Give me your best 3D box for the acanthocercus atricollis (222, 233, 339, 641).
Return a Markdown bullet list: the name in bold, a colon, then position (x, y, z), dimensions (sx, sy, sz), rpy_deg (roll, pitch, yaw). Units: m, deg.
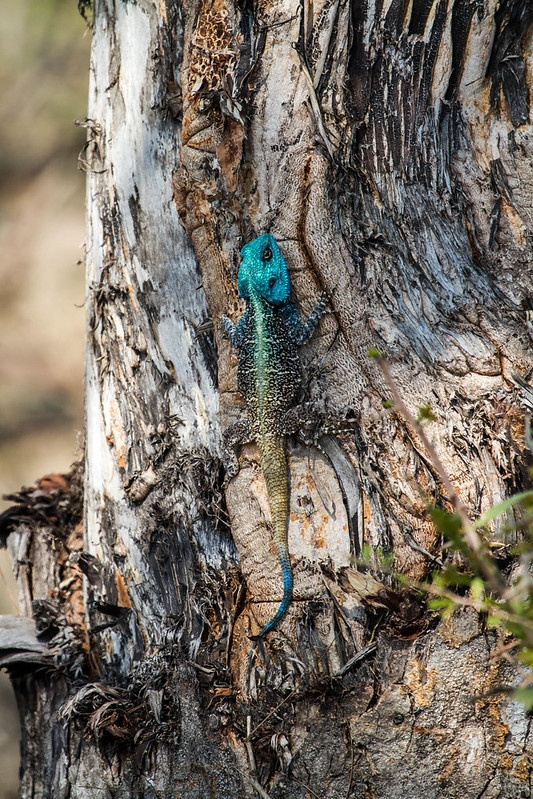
- **acanthocercus atricollis**: position (0.017, 0.028, 6.299), dimensions (0.326, 1.589, 0.198), rpy_deg (-7, -13, 34)
